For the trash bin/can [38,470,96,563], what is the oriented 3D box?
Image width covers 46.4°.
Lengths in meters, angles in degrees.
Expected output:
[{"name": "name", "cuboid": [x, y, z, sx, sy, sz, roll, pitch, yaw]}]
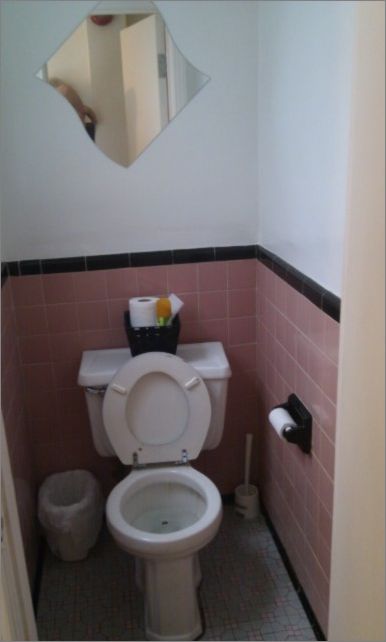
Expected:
[{"name": "trash bin/can", "cuboid": [-0.481, 0.765, 1.798, 0.210, 0.336, 0.250, -6, 14, -18]}]

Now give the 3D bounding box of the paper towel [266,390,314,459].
[{"name": "paper towel", "cuboid": [0.300, 0.327, 1.437, 0.094, 0.161, 0.199, -5, 24, -7]}]

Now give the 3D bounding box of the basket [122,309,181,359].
[{"name": "basket", "cuboid": [-0.150, 0.018, 1.670, 0.134, 0.156, 0.138, -5, 25, -13]}]

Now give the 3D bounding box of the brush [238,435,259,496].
[{"name": "brush", "cuboid": [0.238, 0.640, 1.999, 0.049, 0.355, 0.048, 11, 24, 29]}]
